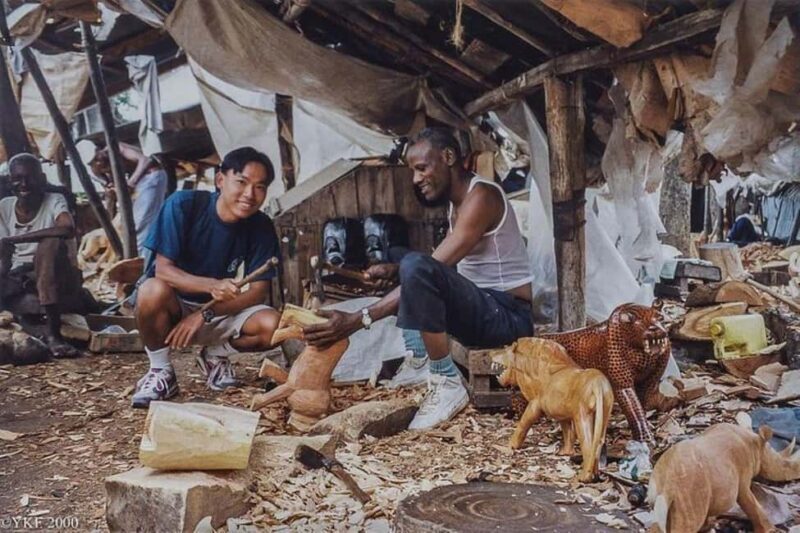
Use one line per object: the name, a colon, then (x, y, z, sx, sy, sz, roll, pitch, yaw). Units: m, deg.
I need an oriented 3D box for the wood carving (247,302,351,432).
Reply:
wood carving: (-0.797, 0.800, 6.045, 0.710, 1.011, 0.341, 4, 10, -8)

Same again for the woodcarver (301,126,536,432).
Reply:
woodcarver: (0.140, 0.014, 6.407, 1.918, 2.189, 1.690, -3, 3, 4)

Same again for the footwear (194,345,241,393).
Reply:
footwear: (-1.592, 0.942, 6.733, 0.533, 0.247, 0.213, 39, 19, 26)

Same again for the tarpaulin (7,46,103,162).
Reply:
tarpaulin: (-3.868, -1.813, 8.444, 0.747, 1.131, 0.259, -2, -5, -44)

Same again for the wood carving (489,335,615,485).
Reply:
wood carving: (1.083, 1.002, 5.478, 0.288, 0.954, 0.870, 7, -5, -41)

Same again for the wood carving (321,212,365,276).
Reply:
wood carving: (-0.645, -0.195, 8.439, 0.519, 0.701, 0.697, -1, -12, -13)

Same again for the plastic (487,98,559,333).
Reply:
plastic: (1.547, -0.611, 8.207, 0.261, 2.425, 0.379, 24, 23, 18)

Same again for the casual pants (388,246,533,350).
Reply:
casual pants: (0.474, 0.300, 6.033, 0.850, 0.387, 0.896, 10, -7, -4)

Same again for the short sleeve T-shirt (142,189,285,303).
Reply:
short sleeve T-shirt: (-1.651, -0.162, 6.820, 1.175, 0.974, 0.567, 12, 12, -30)

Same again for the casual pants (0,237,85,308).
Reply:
casual pants: (-3.564, 0.075, 7.671, 0.750, 0.628, 0.327, 6, -4, -26)

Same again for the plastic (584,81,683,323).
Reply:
plastic: (2.378, -0.680, 7.778, 1.383, 2.212, 0.998, 9, 19, 28)

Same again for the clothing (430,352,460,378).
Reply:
clothing: (0.352, 0.786, 6.033, 0.200, 0.151, 0.155, -8, -5, 14)

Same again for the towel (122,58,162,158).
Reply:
towel: (-3.358, -2.135, 10.002, 0.555, 0.994, 0.397, 6, -4, -20)

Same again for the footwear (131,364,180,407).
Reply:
footwear: (-2.066, 1.015, 6.472, 0.233, 0.268, 0.584, -3, 11, 13)

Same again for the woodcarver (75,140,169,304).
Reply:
woodcarver: (-3.777, -0.601, 10.397, 1.301, 2.160, 0.999, -6, -20, -17)
